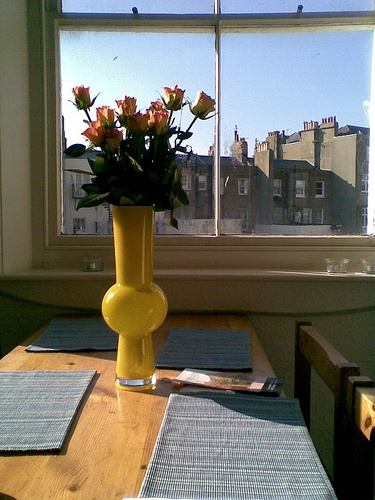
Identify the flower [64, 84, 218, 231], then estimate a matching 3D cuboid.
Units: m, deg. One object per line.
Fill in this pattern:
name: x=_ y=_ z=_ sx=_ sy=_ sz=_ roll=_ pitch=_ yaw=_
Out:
flower: x=-0.103 y=-0.172 z=0.813 sx=0.237 sy=0.259 sz=0.226 roll=-2 pitch=4 yaw=-33
